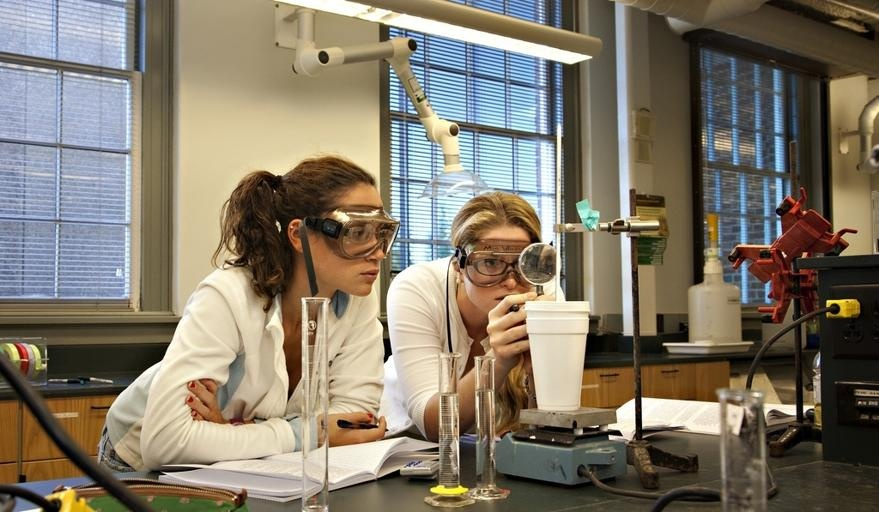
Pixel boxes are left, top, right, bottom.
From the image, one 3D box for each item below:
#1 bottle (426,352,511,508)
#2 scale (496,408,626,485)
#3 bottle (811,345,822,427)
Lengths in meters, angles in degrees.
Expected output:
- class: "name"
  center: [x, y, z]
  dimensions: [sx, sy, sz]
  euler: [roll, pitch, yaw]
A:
- class: "bottle"
  center: [0.073, 0.532, 2.250]
  dimensions: [0.271, 0.455, 0.191]
  euler: [-4, 0, -7]
- class: "scale"
  center: [0.379, 0.596, 2.355]
  dimensions: [0.329, 0.152, 0.257]
  euler: [-2, -3, 44]
- class: "bottle"
  center: [1.392, 0.483, 2.625]
  dimensions: [0.033, 0.247, 0.233]
  euler: [-4, 0, 26]
